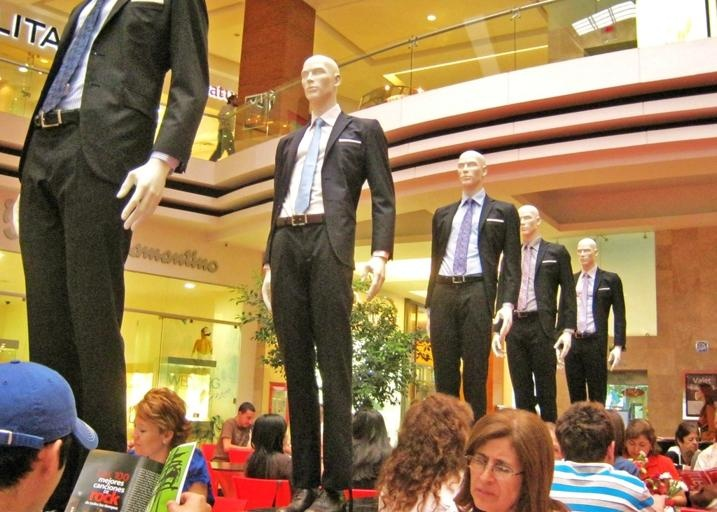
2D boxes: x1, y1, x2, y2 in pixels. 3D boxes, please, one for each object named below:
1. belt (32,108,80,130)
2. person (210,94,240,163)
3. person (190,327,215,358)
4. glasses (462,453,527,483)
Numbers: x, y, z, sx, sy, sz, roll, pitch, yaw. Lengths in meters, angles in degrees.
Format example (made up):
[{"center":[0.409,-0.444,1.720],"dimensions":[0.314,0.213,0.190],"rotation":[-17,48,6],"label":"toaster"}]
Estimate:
[{"center":[-1.005,-0.454,1.919],"dimensions":[0.103,0.031,0.094],"rotation":[-2,0,-6],"label":"belt"},{"center":[-2.561,-2.578,11.151],"dimensions":[0.450,1.607,1.249],"rotation":[7,-16,-15],"label":"person"},{"center":[-3.319,1.818,12.151],"dimensions":[0.507,0.845,0.308],"rotation":[10,-21,-14],"label":"person"},{"center":[0.449,0.700,1.937],"dimensions":[0.178,0.080,0.050],"rotation":[-2,-16,18],"label":"glasses"}]
